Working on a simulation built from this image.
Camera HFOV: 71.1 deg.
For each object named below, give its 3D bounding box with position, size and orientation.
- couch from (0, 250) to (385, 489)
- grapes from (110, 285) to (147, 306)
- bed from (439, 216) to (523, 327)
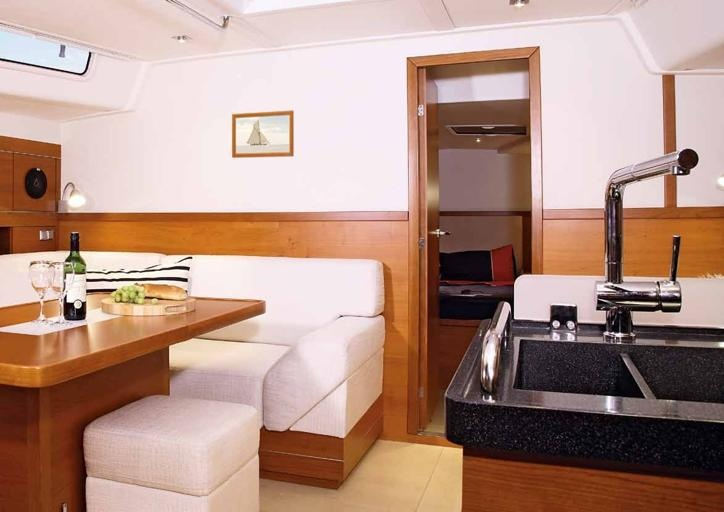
[{"bbox_3d":[-0.723,0.555,2.404,1.222,0.606,0.555,0,-4,20],"label":"couch"},{"bbox_3d":[-1.059,0.175,2.311,0.087,0.055,0.116,4,-1,-44],"label":"grapes"},{"bbox_3d":[1.359,0.141,5.761,1.001,0.740,1.165,1,14,8],"label":"bed"}]
